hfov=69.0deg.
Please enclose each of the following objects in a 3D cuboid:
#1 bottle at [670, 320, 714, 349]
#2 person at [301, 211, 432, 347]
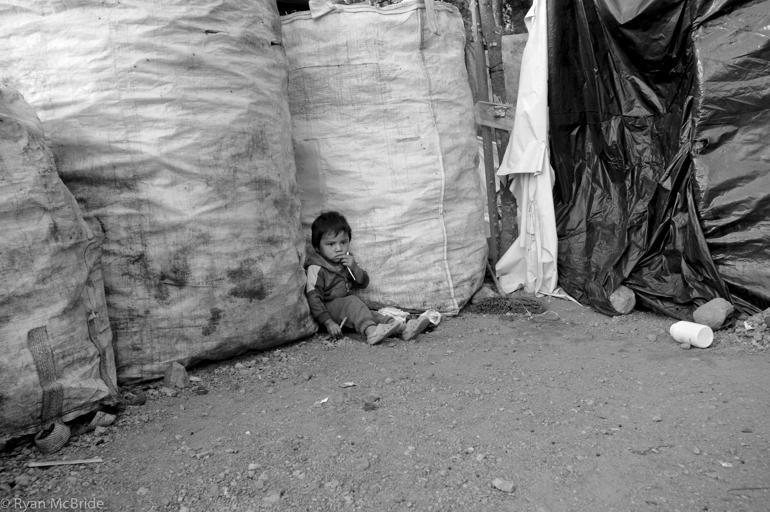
[{"bbox_3d":[1.695,0.439,3.102,0.216,0.118,0.134,1,26,23],"label":"bottle"},{"bbox_3d":[-0.159,0.149,3.418,0.422,0.713,0.813,-13,13,-43],"label":"person"}]
